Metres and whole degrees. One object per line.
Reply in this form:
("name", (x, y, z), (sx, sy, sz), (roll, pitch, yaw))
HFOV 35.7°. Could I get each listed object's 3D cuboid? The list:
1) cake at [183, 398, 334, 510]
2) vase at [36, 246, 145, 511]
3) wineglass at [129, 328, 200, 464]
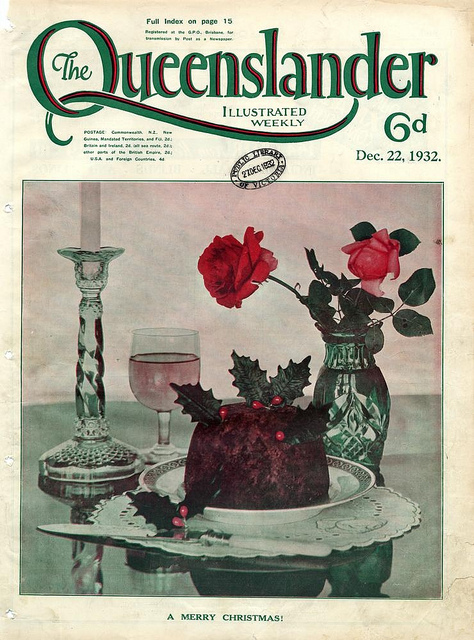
("cake", (0.040, 0.238, 1.364), (0.237, 0.101, 0.222), (2, 5, 28))
("vase", (-0.289, 0.115, 1.459), (0.209, 0.504, 0.090), (0, -3, -14))
("wineglass", (-0.140, 0.152, 1.473), (0.138, 0.272, 0.102), (-1, -3, 12))
